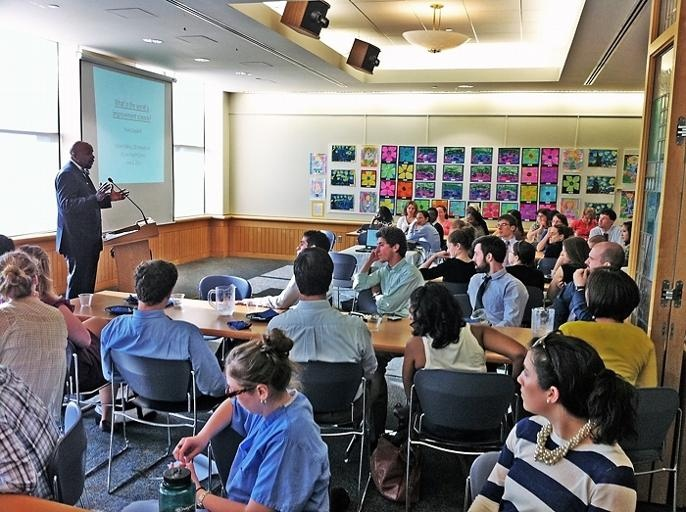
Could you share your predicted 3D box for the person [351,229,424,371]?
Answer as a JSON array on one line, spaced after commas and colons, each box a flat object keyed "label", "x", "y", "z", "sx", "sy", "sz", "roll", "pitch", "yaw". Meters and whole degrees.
[{"label": "person", "x": 0.437, "y": 0.139, "z": 4.841, "sx": 0.733, "sy": 1.558, "sz": 0.625, "roll": 2, "pitch": 1, "yaw": -21}]

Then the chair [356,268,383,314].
[{"label": "chair", "x": 0.217, "y": 0.374, "z": 4.781, "sx": 0.262, "sy": 0.378, "sz": 0.354, "roll": 1, "pitch": 6, "yaw": 4}]

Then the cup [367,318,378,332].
[{"label": "cup", "x": 0.221, "y": 0.509, "z": 3.677, "sx": 0.074, "sy": 0.084, "sz": 0.071, "roll": -1, "pitch": -2, "yaw": 0}]

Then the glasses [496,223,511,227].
[{"label": "glasses", "x": 2.010, "y": -0.390, "z": 6.274, "sx": 0.158, "sy": 0.052, "sz": 0.075, "roll": 3, "pitch": 7, "yaw": 36}]

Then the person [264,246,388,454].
[{"label": "person", "x": -0.145, "y": 0.677, "z": 3.382, "sx": 0.730, "sy": 1.430, "sz": 0.789, "roll": 0, "pitch": 5, "yaw": 14}]

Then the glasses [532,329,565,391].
[{"label": "glasses", "x": 0.736, "y": 0.367, "z": 1.801, "sx": 0.046, "sy": 0.166, "sz": 0.152, "roll": -5, "pitch": 0, "yaw": 30}]

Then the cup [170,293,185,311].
[{"label": "cup", "x": -1.420, "y": 0.398, "z": 4.249, "sx": 0.119, "sy": 0.098, "sz": 0.119, "roll": 1, "pitch": -1, "yaw": 0}]

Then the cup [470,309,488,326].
[{"label": "cup", "x": 1.027, "y": 0.466, "z": 3.778, "sx": 0.089, "sy": 0.102, "sz": 0.107, "roll": 3, "pitch": 19, "yaw": 43}]

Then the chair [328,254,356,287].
[{"label": "chair", "x": 0.025, "y": 0.165, "z": 6.466, "sx": 0.333, "sy": 0.414, "sz": 0.386, "roll": 4, "pitch": 12, "yaw": 21}]

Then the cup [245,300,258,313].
[{"label": "cup", "x": -0.771, "y": 0.422, "z": 4.170, "sx": 0.083, "sy": 0.105, "sz": 0.087, "roll": 0, "pitch": -7, "yaw": 0}]

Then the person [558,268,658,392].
[{"label": "person", "x": 1.462, "y": 0.488, "z": 2.838, "sx": 0.523, "sy": 0.791, "sz": 0.411, "roll": 3, "pitch": 5, "yaw": 24}]

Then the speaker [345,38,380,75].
[{"label": "speaker", "x": 0.299, "y": -2.970, "z": 7.453, "sx": 0.455, "sy": 0.465, "sz": 0.476, "roll": 23, "pitch": -28, "yaw": 14}]

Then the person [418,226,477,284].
[{"label": "person", "x": 1.183, "y": -0.010, "z": 5.758, "sx": 0.418, "sy": 0.891, "sz": 0.475, "roll": -11, "pitch": 28, "yaw": -33}]

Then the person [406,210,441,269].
[{"label": "person", "x": 1.280, "y": -0.246, "z": 7.928, "sx": 0.494, "sy": 0.933, "sz": 0.409, "roll": 7, "pitch": 21, "yaw": 26}]

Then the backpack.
[{"label": "backpack", "x": 0.322, "y": 1.364, "z": 3.226, "sx": 0.275, "sy": 0.147, "sz": 0.392, "roll": 10, "pitch": 35, "yaw": -1}]

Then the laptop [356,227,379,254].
[{"label": "laptop", "x": 0.417, "y": -0.263, "z": 7.935, "sx": 0.443, "sy": 0.342, "sz": 0.334, "roll": 0, "pitch": -1, "yaw": 38}]

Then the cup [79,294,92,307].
[{"label": "cup", "x": -2.096, "y": 0.370, "z": 4.092, "sx": 0.096, "sy": 0.081, "sz": 0.100, "roll": 1, "pitch": -4, "yaw": 0}]

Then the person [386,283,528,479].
[{"label": "person", "x": 0.655, "y": 0.709, "z": 3.233, "sx": 0.699, "sy": 1.181, "sz": 0.991, "roll": -14, "pitch": 19, "yaw": -24}]

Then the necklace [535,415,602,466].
[{"label": "necklace", "x": 0.787, "y": 0.658, "z": 1.788, "sx": 0.188, "sy": 0.073, "sz": 0.136, "roll": -35, "pitch": 29, "yaw": -15}]

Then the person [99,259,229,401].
[{"label": "person", "x": -1.310, "y": 0.540, "z": 3.619, "sx": 0.924, "sy": 0.961, "sz": 0.510, "roll": 3, "pitch": 14, "yaw": 8}]

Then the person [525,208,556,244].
[{"label": "person", "x": 3.152, "y": -0.240, "z": 8.057, "sx": 0.348, "sy": 0.981, "sz": 0.312, "roll": 4, "pitch": -8, "yaw": 31}]

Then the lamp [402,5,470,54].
[{"label": "lamp", "x": 1.217, "y": -2.858, "z": 6.668, "sx": 0.736, "sy": 0.520, "sz": 0.737, "roll": 3, "pitch": 12, "yaw": 6}]

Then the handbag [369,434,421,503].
[{"label": "handbag", "x": 0.313, "y": 1.356, "z": 3.157, "sx": 0.270, "sy": 0.401, "sz": 0.140, "roll": 5, "pitch": -10, "yaw": 4}]

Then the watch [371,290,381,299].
[{"label": "watch", "x": 0.302, "y": 0.360, "z": 4.651, "sx": 0.075, "sy": 0.043, "sz": 0.103, "roll": 4, "pitch": 2, "yaw": 17}]
